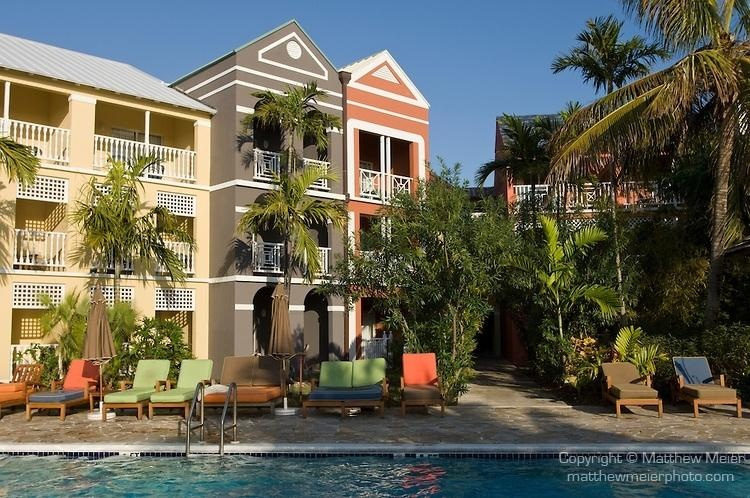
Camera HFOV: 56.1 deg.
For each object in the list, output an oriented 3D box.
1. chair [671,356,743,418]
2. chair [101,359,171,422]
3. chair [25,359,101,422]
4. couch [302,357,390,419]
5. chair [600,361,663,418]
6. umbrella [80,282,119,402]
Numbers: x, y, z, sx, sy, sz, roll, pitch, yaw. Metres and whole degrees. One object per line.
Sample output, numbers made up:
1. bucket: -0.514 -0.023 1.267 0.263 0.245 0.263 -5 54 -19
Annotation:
1. chair: 9.423 3.904 20.107 1.310 1.723 1.614 -1 -9 -5
2. chair: -6.867 4.042 20.420 1.263 1.661 2.145 -1 -6 8
3. chair: -9.091 4.082 20.704 1.212 1.663 2.379 -1 -7 2
4. couch: -0.753 4.020 20.539 2.196 1.574 1.570 -2 -9 0
5. chair: 7.298 4.039 20.392 1.283 1.443 2.440 0 -5 0
6. umbrella: -8.162 2.766 20.759 0.811 3.452 1.535 1 -9 -21
